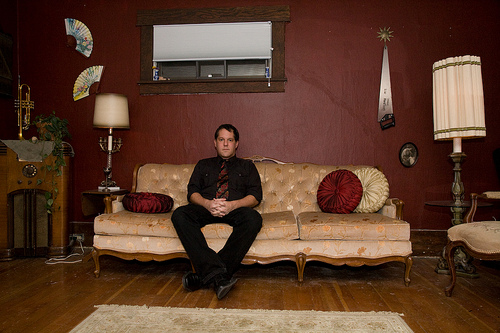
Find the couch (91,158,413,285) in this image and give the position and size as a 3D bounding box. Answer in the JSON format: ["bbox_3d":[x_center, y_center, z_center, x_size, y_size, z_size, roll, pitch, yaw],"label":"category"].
[{"bbox_3d":[0.017,0.584,4.300,3.056,1.160,1.127,1,5,2],"label":"couch"}]

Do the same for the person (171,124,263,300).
[{"bbox_3d":[-0.298,0.355,3.988,0.801,1.798,1.046,2,-14,-3],"label":"person"}]

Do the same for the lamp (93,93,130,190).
[{"bbox_3d":[-1.651,-0.275,4.699,0.358,1.218,0.397,5,3,-1],"label":"lamp"}]

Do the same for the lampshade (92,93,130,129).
[{"bbox_3d":[-1.593,-0.634,4.544,0.393,0.399,0.197,-5,15,-20],"label":"lampshade"}]

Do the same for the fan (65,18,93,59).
[{"bbox_3d":[-2.067,-1.579,4.846,0.300,0.427,0.044,-36,1,8],"label":"fan"}]

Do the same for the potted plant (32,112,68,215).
[{"bbox_3d":[-2.218,-0.040,4.485,0.344,1.068,0.458,-6,15,-22],"label":"potted plant"}]

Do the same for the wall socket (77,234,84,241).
[{"bbox_3d":[-2.015,0.838,4.738,0.091,0.066,0.038,2,14,9],"label":"wall socket"}]
